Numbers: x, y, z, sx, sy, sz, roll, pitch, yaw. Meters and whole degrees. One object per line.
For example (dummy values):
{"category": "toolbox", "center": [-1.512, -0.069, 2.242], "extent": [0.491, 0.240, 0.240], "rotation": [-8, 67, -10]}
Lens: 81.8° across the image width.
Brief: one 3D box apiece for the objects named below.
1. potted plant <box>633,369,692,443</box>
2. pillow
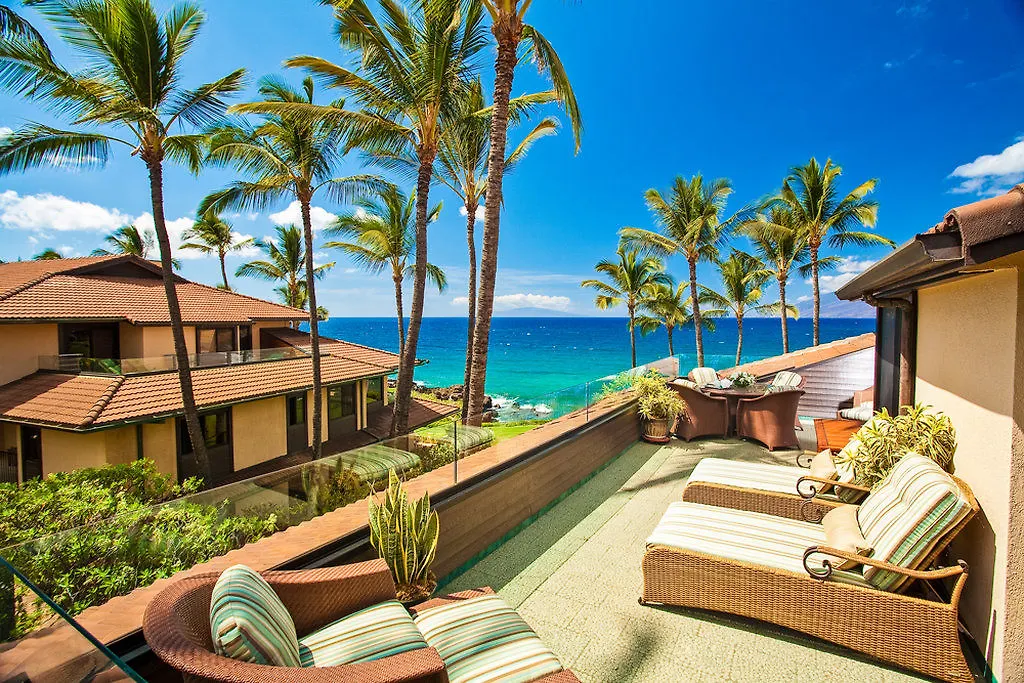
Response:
{"category": "potted plant", "center": [3.216, 1.600, 13.033], "extent": [1.096, 1.178, 1.053], "rotation": [3, 4, 43]}
{"category": "pillow", "center": [-2.960, 3.155, 6.693], "extent": [0.536, 0.966, 1.007], "rotation": [-27, 10, -15]}
